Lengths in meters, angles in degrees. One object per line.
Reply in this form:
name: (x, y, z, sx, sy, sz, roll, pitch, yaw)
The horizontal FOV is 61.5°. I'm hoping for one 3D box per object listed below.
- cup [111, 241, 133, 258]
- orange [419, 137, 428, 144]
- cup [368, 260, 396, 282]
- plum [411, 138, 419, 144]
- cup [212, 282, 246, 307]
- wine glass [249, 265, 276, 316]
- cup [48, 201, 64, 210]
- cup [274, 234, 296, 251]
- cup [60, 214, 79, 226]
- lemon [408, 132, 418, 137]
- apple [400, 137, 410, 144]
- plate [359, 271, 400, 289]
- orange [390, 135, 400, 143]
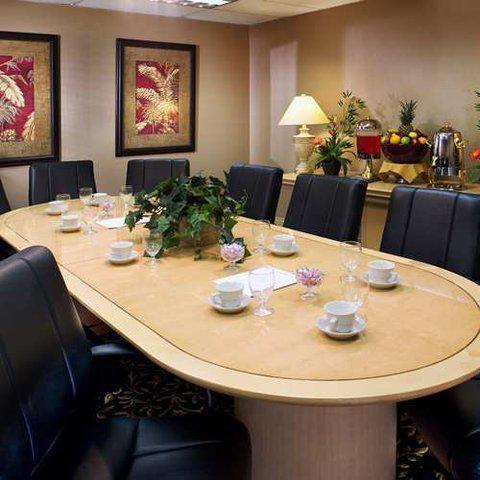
cup: (-0.537, 0.043, 1.838, 0.075, 0.051, 0.083, 0, 5, -4)
orange: (1.596, -0.872, 3.502, 0.073, 0.070, 0.089, 2, 4, 23)
cup: (0.508, 0.105, 1.469, 0.084, 0.059, 0.079, -1, 20, 1)
plum: (1.522, -0.861, 3.498, 0.058, 0.053, 0.054, 2, 4, 16)
cup: (-0.029, 0.164, 1.267, 0.089, 0.056, 0.071, -5, 17, -4)
wine glass: (0.064, 0.147, 1.182, 0.090, 0.128, 0.083, 1, 5, 18)
cup: (-1.283, -0.242, 2.820, 0.128, 0.068, 0.119, 3, 4, 0)
cup: (0.209, 0.010, 1.852, 0.079, 0.047, 0.081, -1, 4, 0)
cup: (-1.017, -0.116, 2.452, 0.121, 0.067, 0.115, 1, 6, 0)
lemon: (1.509, -0.922, 3.516, 0.047, 0.045, 0.048, -3, 2, 18)
apple: (1.433, -0.872, 3.521, 0.067, 0.062, 0.063, -11, 33, -13)
plate: (0.501, 0.150, 1.430, 0.110, 0.024, 0.103, -1, 14, 5)
orange: (1.364, -0.887, 3.543, 0.077, 0.083, 0.073, -2, 7, 20)
